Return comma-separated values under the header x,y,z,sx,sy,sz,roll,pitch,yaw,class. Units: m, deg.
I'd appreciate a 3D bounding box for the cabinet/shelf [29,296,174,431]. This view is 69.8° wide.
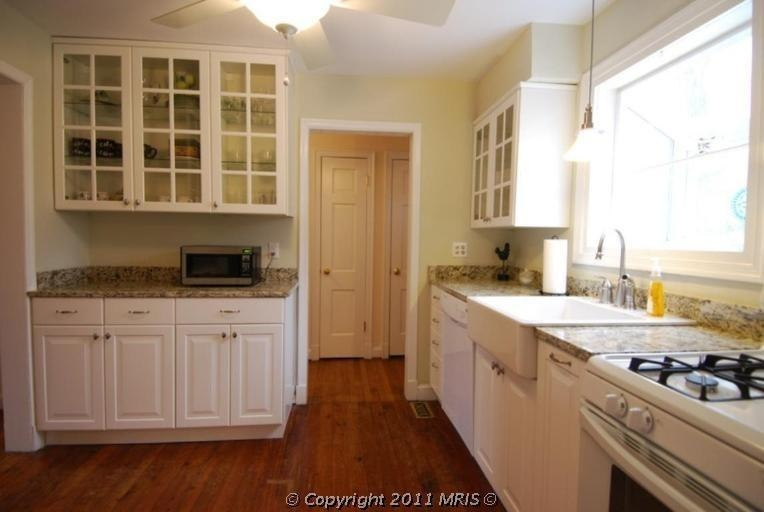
x,y,z,sx,sy,sz,roll,pitch,yaw,class
-2.026,0.723,3.872,1.009,0.909,0.500,0,1,-7,cabinet/shelf

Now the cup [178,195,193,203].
x,y,z,sx,sy,sz,roll,pitch,yaw,class
-1.476,-0.419,4.123,0.088,0.057,0.055,7,-10,-28,cup

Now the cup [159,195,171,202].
x,y,z,sx,sy,sz,roll,pitch,yaw,class
-1.626,-0.429,4.108,0.045,0.030,0.066,-3,-8,14,cup

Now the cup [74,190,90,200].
x,y,z,sx,sy,sz,roll,pitch,yaw,class
-2.220,-0.442,4.055,0.079,0.071,0.079,0,1,0,cup

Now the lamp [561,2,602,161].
x,y,z,sx,sy,sz,roll,pitch,yaw,class
1.300,-1.132,3.538,0.208,1.073,0.618,1,4,20,lamp

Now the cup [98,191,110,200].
x,y,z,sx,sy,sz,roll,pitch,yaw,class
-2.074,-0.447,4.073,0.072,0.064,0.037,0,-3,-11,cup

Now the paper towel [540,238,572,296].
x,y,z,sx,sy,sz,roll,pitch,yaw,class
1.202,0.076,3.838,0.165,0.383,0.141,2,4,27,paper towel

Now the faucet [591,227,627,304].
x,y,z,sx,sy,sz,roll,pitch,yaw,class
1.490,0.056,3.573,0.187,0.479,0.382,1,4,22,faucet

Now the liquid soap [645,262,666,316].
x,y,z,sx,sy,sz,roll,pitch,yaw,class
1.649,0.189,3.287,0.100,0.324,0.177,2,4,27,liquid soap
